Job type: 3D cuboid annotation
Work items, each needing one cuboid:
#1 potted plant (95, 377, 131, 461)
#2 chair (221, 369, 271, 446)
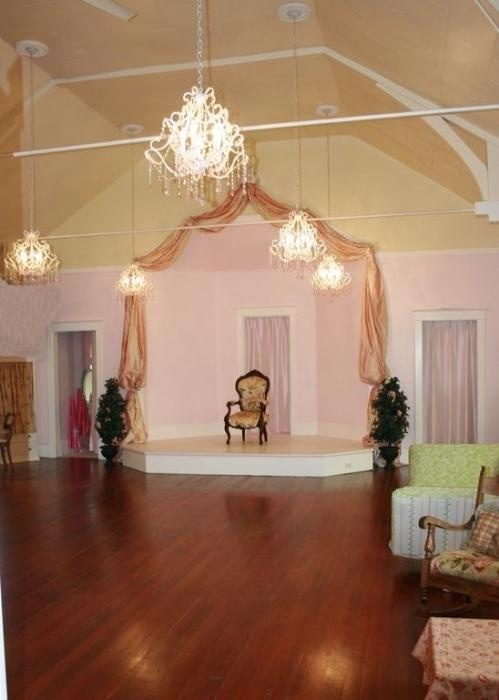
[{"bbox_3d":[-2.359,1.216,9.451,0.504,1.469,0.422,-1,-2,-5],"label":"potted plant"},{"bbox_3d":[-0.052,0.990,9.743,0.760,1.250,1.476,-1,-2,0],"label":"chair"}]
